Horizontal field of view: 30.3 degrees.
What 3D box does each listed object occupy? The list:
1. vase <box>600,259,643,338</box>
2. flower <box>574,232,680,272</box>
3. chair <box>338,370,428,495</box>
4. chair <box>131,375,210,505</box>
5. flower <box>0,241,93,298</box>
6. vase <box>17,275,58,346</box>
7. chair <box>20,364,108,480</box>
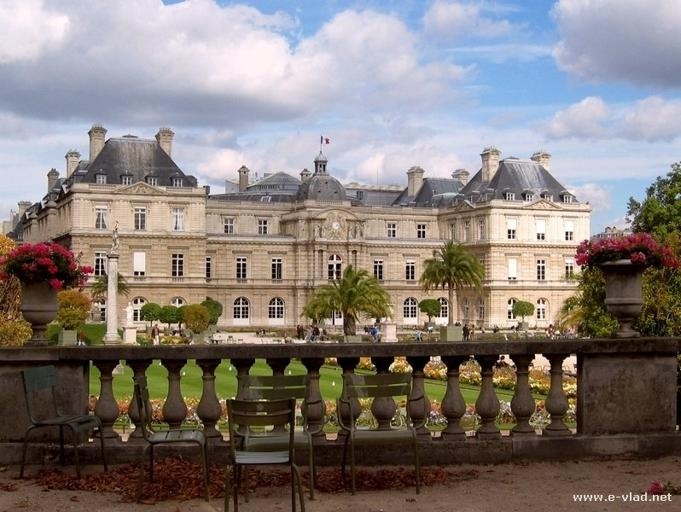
[{"bbox_3d":[4.292,0.640,18.903,0.829,1.076,0.802,8,-7,-27],"label":"vase"},{"bbox_3d":[4.299,-0.088,18.962,1.448,0.517,0.890,-2,-1,10],"label":"flower"},{"bbox_3d":[0.545,2.402,17.721,1.156,1.492,1.588,-2,-1,0],"label":"chair"},{"bbox_3d":[-2.289,2.511,17.265,0.941,1.384,0.827,-2,-7,-13],"label":"chair"},{"bbox_3d":[-4.440,0.146,18.959,0.891,0.597,0.889,6,-3,-12],"label":"flower"},{"bbox_3d":[-4.500,0.825,18.828,0.648,0.937,0.654,-3,-2,-26],"label":"vase"},{"bbox_3d":[-3.892,2.294,17.627,1.240,1.489,1.231,-1,0,-31],"label":"chair"}]
